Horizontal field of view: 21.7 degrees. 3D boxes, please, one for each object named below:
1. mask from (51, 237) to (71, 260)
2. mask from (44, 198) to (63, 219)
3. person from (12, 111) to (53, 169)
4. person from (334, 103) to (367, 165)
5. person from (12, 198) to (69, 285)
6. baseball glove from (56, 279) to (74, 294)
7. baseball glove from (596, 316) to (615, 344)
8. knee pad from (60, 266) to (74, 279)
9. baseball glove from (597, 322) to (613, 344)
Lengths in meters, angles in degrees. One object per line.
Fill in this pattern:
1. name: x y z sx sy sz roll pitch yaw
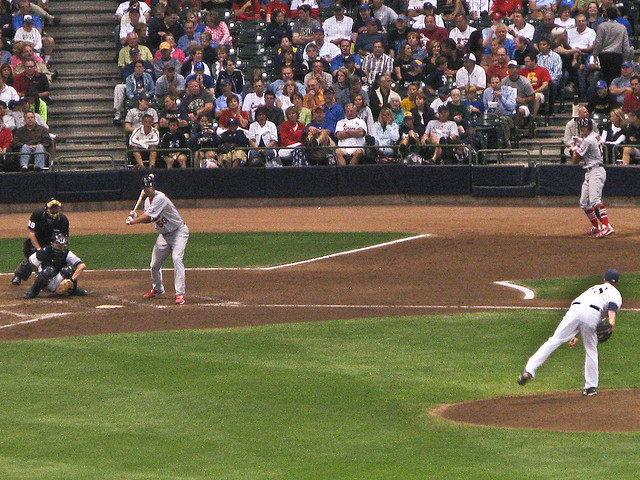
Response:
1. mask: -5.302 0.146 34.305 0.421 0.375 0.436 -1 6 -21
2. mask: -5.499 -0.644 34.655 0.321 0.402 0.437 -2 5 -13
3. person: -7.237 -2.561 42.387 0.945 1.429 0.706 -3 6 -22
4. person: 0.772 -2.730 42.758 0.816 1.533 0.395 0 6 4
5. person: -5.760 0.042 34.913 1.125 1.672 1.006 -6 17 -29
6. baseball glove: -5.202 0.971 34.256 0.351 0.266 0.253 17 26 20
7. baseball glove: 5.016 1.569 29.514 0.370 0.151 0.440 11 48 22
8. knee pad: -5.181 0.667 34.448 0.213 0.239 0.250 5 -2 7
9. baseball glove: 5.026 1.640 29.502 0.284 0.342 0.255 2 6 25
